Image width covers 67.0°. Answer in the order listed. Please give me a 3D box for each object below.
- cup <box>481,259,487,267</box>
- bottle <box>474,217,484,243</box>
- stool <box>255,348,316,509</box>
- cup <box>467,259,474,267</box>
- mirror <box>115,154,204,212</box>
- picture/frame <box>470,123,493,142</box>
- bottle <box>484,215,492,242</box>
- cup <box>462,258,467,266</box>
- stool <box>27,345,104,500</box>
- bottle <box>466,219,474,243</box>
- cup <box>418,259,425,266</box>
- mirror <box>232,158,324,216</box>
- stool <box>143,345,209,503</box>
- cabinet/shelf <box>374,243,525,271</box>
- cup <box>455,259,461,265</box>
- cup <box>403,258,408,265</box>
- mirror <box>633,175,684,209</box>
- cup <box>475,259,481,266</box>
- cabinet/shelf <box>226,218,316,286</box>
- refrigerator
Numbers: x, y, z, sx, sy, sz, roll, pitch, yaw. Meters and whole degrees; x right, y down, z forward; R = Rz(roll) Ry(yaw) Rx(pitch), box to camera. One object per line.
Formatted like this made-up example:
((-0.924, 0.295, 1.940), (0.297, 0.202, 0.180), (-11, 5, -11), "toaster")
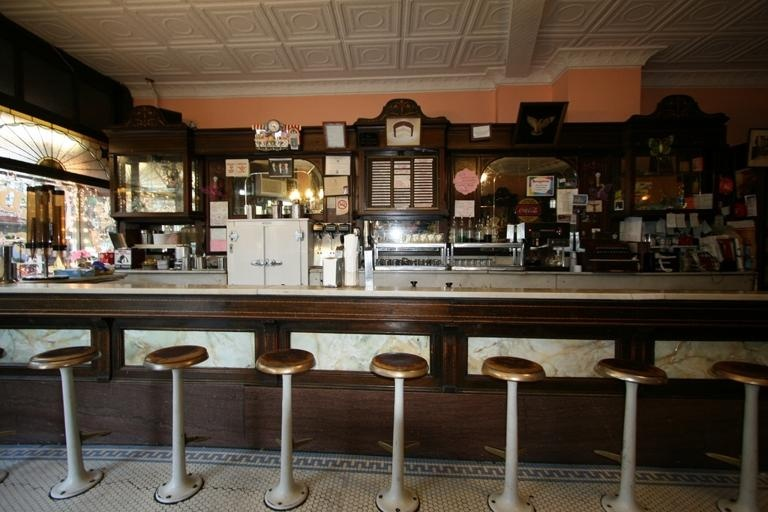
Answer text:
((1.571, 0.106, 9.111), (0.158, 0.101, 0.069), (1, 5, 8), "cup")
((1.537, -0.422, 9.263), (0.147, 0.374, 0.453), (-1, 2, 9), "bottle")
((-0.986, 1.841, 6.215), (0.557, 1.658, 0.462), (0, 3, 15), "stool")
((1.371, 0.105, 9.132), (0.179, 0.117, 0.105), (0, -6, 6), "cup")
((-3.694, -1.186, 9.423), (1.365, 0.771, 0.395), (1, -3, -2), "mirror")
((1.537, -1.913, 9.188), (0.510, 0.302, 0.231), (0, -1, 10), "picture/frame")
((1.653, -0.441, 9.281), (0.132, 0.412, 0.391), (-1, 3, 10), "bottle")
((1.294, 0.102, 9.132), (0.127, 0.083, 0.105), (-2, 9, -6), "cup")
((-3.445, 1.796, 6.328), (0.642, 1.598, 0.434), (-3, 3, -29), "stool")
((1.385, -0.421, 9.249), (0.134, 0.373, 0.379), (-1, 3, 8), "bottle")
((0.589, 0.096, 9.071), (0.128, 0.084, 0.061), (3, 7, 7), "cup")
((-1.747, -1.157, 9.563), (1.451, 0.606, 0.027), (0, 8, -2), "mirror")
((-2.207, 1.802, 6.268), (0.617, 1.647, 0.391), (-2, 3, -16), "stool")
((0.995, -0.005, 9.065), (2.278, 0.417, 0.495), (-1, 2, -1), "cabinet/shelf")
((1.174, 0.097, 9.168), (0.138, 0.091, 0.082), (0, -14, 4), "cup")
((0.346, 0.083, 9.068), (0.114, 0.082, 0.046), (-1, 3, -18), "cup")
((4.251, -1.007, 8.913), (0.837, 0.510, 0.165), (2, -6, 4), "mirror")
((1.475, 0.103, 9.121), (0.134, 0.095, 0.056), (3, -35, 4), "cup")
((-1.751, -0.058, 8.932), (1.491, 0.951, 0.516), (0, 3, 2), "cabinet/shelf")
((-1.748, -0.060, 8.893), (1.478, 0.932, 0.501), (0, 3, 2), "refrigerator")
